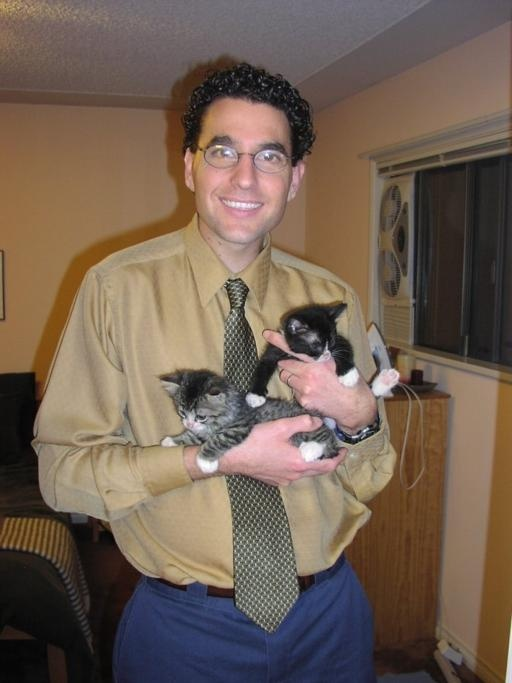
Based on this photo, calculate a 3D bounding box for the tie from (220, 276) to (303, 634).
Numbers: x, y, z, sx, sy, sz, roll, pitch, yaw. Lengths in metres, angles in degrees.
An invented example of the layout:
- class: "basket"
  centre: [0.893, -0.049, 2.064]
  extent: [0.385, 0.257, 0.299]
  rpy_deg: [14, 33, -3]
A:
- class: "tie"
  centre: [-0.001, 0.245, 1.214]
  extent: [0.129, 0.743, 0.060]
  rpy_deg: [-6, -4, -8]

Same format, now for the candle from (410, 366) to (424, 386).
- class: "candle"
  centre: [0.814, 0.177, 2.980]
  extent: [0.073, 0.080, 0.073]
  rpy_deg: [0, 10, 6]

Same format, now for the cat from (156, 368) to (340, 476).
- class: "cat"
  centre: [-0.017, 0.193, 1.316]
  extent: [0.339, 0.150, 0.213]
  rpy_deg: [3, 27, -20]

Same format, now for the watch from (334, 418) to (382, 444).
- class: "watch"
  centre: [0.254, 0.227, 1.435]
  extent: [0.072, 0.028, 0.075]
  rpy_deg: [-26, 4, -17]
